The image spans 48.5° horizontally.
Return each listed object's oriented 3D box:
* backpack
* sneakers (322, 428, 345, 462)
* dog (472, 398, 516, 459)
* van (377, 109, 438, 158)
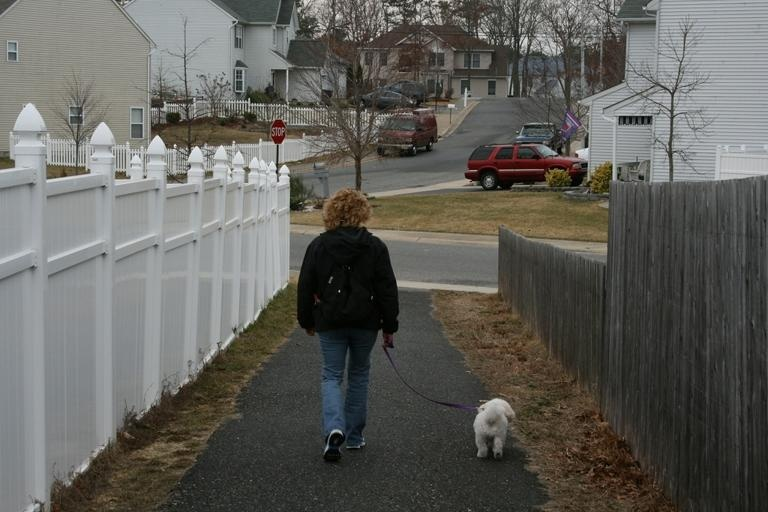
[{"bbox_3d":[-0.331,0.239,7.972,0.525,0.850,0.308,0,8,12],"label":"backpack"},{"bbox_3d":[-0.458,1.757,7.860,0.134,0.356,0.176,5,43,-4],"label":"sneakers"},{"bbox_3d":[1.060,1.662,8.218,0.368,0.501,0.341,1,8,-4],"label":"dog"},{"bbox_3d":[1.003,-6.635,46.576,2.073,2.157,4.385,2,8,18],"label":"van"}]
